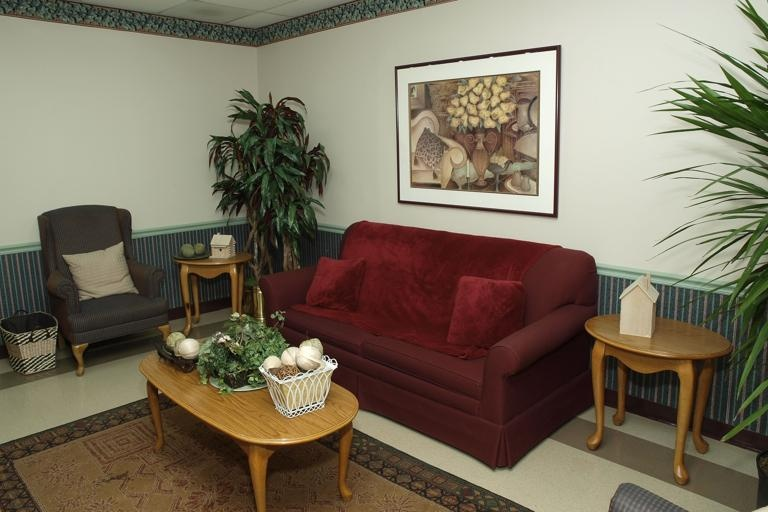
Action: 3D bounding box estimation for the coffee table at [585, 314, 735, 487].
[{"bbox_3d":[1.860,0.845,3.802,1.010,1.129,1.138,-10,14,-40],"label":"coffee table"}]

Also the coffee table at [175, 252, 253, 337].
[{"bbox_3d":[-2.053,0.305,5.829,0.951,0.930,0.875,-5,9,-37],"label":"coffee table"}]
